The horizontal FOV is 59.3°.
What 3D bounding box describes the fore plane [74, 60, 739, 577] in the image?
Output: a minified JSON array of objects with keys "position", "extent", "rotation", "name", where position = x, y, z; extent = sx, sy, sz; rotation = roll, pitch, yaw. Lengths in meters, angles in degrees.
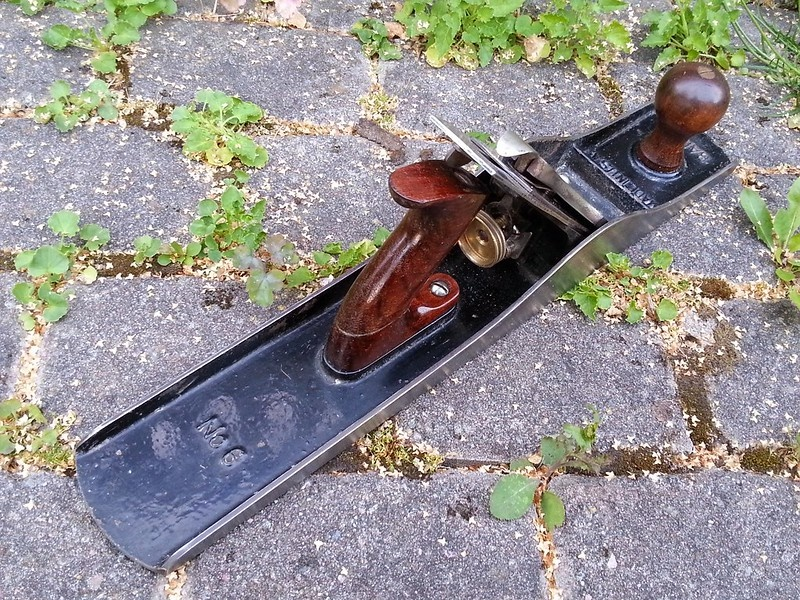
[{"position":[0.012,0.085,1.787],"extent":[1.596,0.488,0.325],"rotation":[-35,70,-18],"name":"fore plane"}]
